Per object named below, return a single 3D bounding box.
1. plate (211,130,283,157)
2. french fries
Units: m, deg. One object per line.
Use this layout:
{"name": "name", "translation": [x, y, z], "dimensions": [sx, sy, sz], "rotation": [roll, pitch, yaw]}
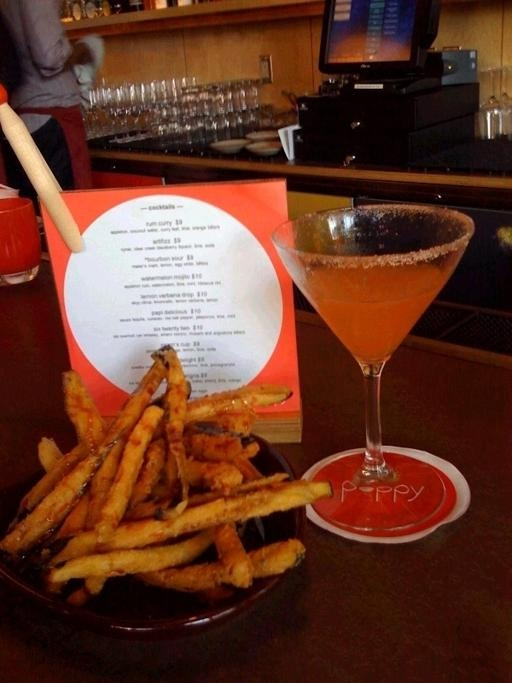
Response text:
{"name": "plate", "translation": [-0.059, -1.004, 2.812], "dimensions": [0.355, 0.072, 0.527], "rotation": [-2, 30, 0]}
{"name": "french fries", "translation": [-0.057, 0.076, 0.356], "dimensions": [0.176, 0.059, 0.137], "rotation": [-4, 32, -34]}
